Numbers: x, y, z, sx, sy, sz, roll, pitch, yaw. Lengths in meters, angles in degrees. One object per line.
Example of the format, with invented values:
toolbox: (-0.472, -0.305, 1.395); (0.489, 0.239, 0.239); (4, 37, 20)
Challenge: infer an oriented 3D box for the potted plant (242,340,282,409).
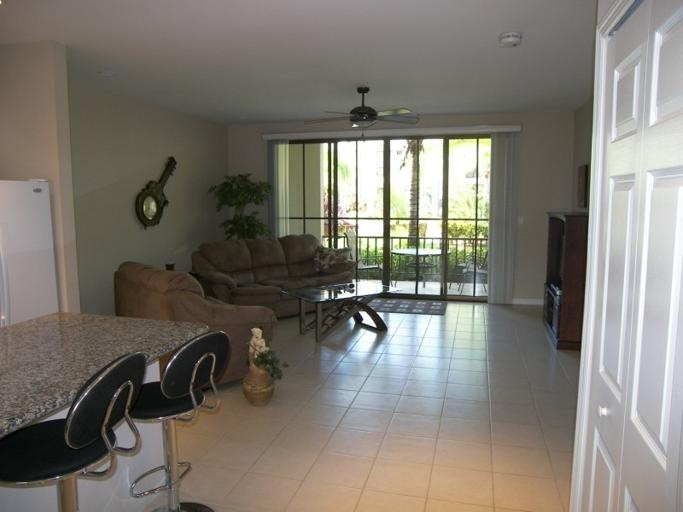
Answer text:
potted plant: (-0.660, 0.992, 4.028); (0.304, 0.471, 0.230); (-3, 11, -12)

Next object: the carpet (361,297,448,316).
carpet: (0.994, 0.737, 7.271); (1.139, 0.041, 0.958); (2, 10, 11)

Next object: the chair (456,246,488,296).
chair: (2.083, 0.320, 8.023); (0.626, 0.893, 0.544); (-1, 4, 8)

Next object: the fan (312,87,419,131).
fan: (0.319, -1.805, 5.841); (0.971, 0.357, 0.891); (-2, 6, -45)

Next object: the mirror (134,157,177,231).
mirror: (-2.511, -0.869, 6.574); (0.101, 0.958, 0.745); (3, 11, 19)
